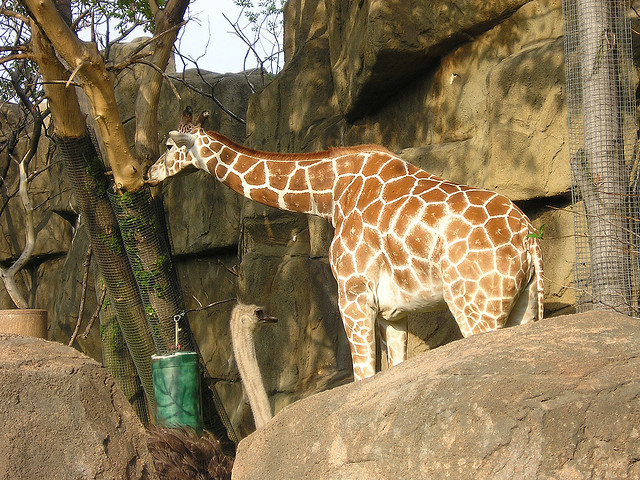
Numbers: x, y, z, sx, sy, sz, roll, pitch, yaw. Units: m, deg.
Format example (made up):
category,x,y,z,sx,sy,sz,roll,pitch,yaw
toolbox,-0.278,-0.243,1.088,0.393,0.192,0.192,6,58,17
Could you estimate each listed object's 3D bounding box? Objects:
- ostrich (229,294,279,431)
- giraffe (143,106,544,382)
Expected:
category,x,y,z,sx,sy,sz,roll,pitch,yaw
ostrich,-0.683,1.133,13.898,0.395,1.542,0.387,-4,2,-29
giraffe,0.168,0.313,12.818,3.642,2.718,1.038,3,17,13
